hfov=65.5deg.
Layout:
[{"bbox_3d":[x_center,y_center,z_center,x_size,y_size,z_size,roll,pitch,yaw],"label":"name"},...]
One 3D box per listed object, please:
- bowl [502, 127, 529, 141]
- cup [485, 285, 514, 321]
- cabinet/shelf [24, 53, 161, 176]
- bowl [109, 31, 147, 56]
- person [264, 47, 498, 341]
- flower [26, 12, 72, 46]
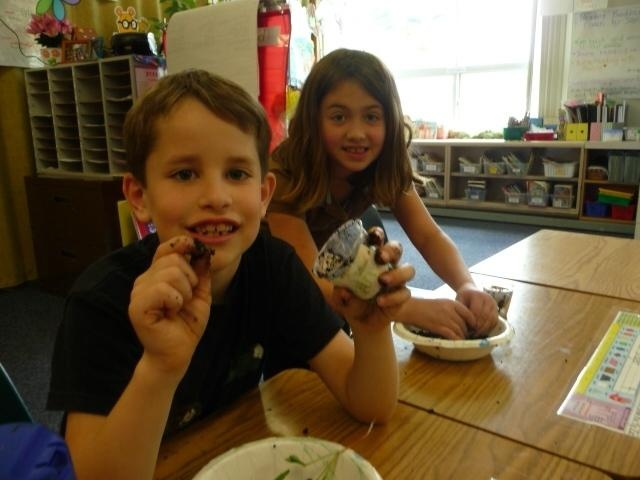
[{"bbox_3d":[1.885,-1.028,4.845,0.136,0.096,0.147,-1,10,0],"label":"bowl"},{"bbox_3d":[0.472,0.165,1.321,0.032,0.078,0.069,16,-10,-42],"label":"cup"},{"bbox_3d":[-1.359,-0.774,2.919,0.995,0.853,0.345,4,10,23],"label":"cabinet/shelf"},{"bbox_3d":[-1.239,-1.234,3.155,0.287,0.140,0.121,4,17,26],"label":"bowl"},{"bbox_3d":[0.151,-0.179,1.615,0.588,0.846,0.902,-12,14,-33],"label":"person"},{"bbox_3d":[-1.848,-1.418,3.389,0.220,0.253,0.231,9,25,30],"label":"flower"}]
